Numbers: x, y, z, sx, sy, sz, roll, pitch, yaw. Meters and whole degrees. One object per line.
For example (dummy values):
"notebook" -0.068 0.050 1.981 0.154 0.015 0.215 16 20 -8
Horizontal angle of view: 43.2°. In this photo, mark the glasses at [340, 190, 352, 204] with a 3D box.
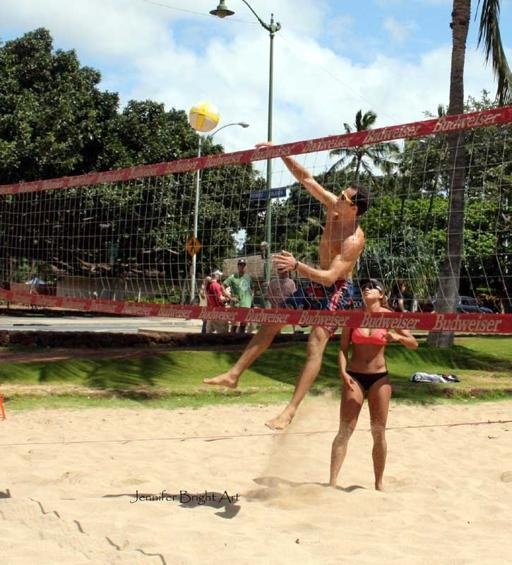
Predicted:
"glasses" 0.670 -0.616 4.680 0.031 0.088 0.094 -32 30 -16

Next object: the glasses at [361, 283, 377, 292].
"glasses" 0.867 0.045 4.917 0.100 0.051 0.124 -1 5 27

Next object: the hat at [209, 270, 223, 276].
"hat" -0.751 -0.163 11.968 0.179 0.110 0.119 0 30 4

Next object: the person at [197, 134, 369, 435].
"person" 0.318 0.070 4.705 0.902 2.070 1.099 4 0 7

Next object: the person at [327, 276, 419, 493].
"person" 0.855 0.768 4.742 0.549 1.518 0.678 4 0 8

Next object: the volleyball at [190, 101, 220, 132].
"volleyball" -0.585 -1.830 7.229 0.310 0.339 0.448 3 0 -11

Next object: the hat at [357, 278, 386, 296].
"hat" 0.889 0.015 4.968 0.125 0.083 0.173 -14 -46 38
